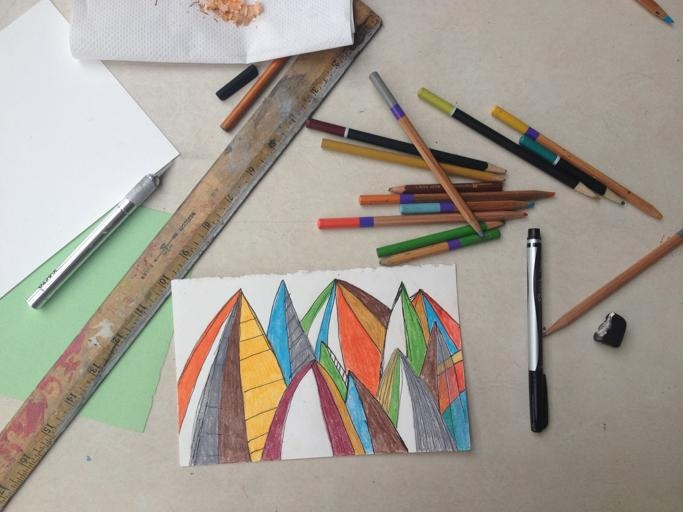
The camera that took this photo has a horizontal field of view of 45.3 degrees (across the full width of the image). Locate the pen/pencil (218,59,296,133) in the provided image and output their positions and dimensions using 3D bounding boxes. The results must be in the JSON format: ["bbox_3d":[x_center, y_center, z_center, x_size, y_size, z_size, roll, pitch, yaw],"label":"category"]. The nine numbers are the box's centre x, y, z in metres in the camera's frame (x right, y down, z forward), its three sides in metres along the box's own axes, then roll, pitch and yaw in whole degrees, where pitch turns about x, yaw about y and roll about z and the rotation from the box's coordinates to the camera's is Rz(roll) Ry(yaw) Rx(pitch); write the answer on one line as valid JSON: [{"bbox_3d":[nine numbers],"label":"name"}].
[{"bbox_3d":[-0.156,-0.294,1.521,0.148,0.023,0.020,-56,-18,2],"label":"pen/pencil"}]
